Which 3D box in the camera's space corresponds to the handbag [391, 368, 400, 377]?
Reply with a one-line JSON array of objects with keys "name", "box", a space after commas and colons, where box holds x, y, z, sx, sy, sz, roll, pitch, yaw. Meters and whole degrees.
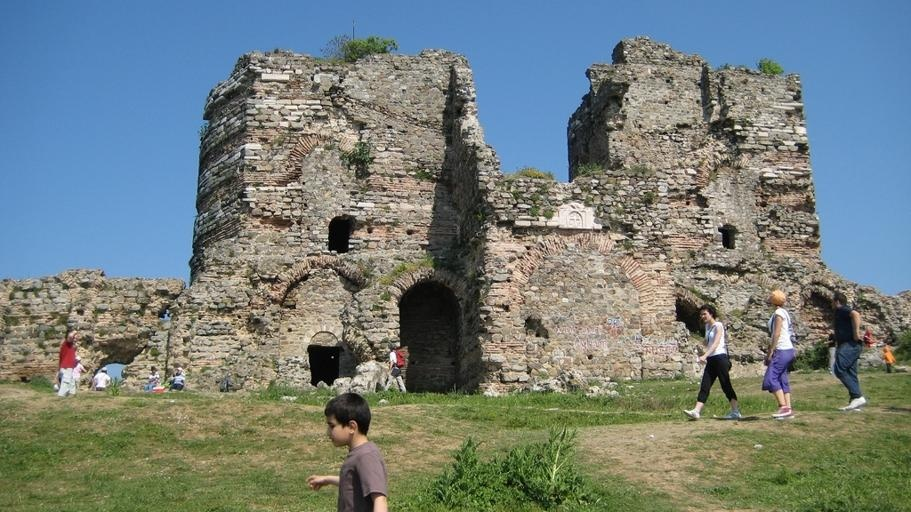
[{"name": "handbag", "box": [-2.226, 4.393, 27.017, 0.336, 0.471, 0.408, 1, 15, 0]}]

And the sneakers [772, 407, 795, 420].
[{"name": "sneakers", "box": [8.514, 4.051, 18.388, 0.724, 0.271, 0.241, 3, -12, -16]}]

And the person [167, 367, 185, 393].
[{"name": "person", "box": [-10.699, 4.772, 27.496, 0.366, 0.820, 0.281, -18, -49, 6]}]
